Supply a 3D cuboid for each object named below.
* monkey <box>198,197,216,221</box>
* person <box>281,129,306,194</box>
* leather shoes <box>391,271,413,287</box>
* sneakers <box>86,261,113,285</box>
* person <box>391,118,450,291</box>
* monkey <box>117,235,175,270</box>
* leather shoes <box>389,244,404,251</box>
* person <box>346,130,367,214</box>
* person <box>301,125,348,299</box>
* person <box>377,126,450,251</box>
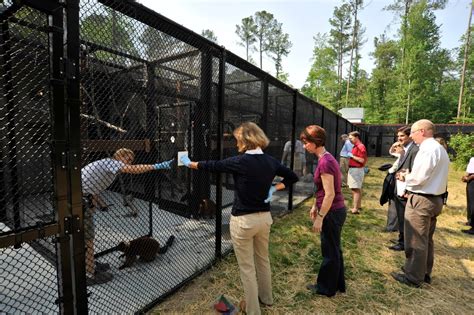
[{"bbox_3d":[-0.646,1.153,6.941,0.262,0.338,0.482,26,38,-11],"label":"monkey"},{"bbox_3d":[1.616,0.137,9.069,0.649,1.635,0.627,6,29,6],"label":"person"},{"bbox_3d":[2.960,2.185,5.874,0.117,0.120,0.308,-7,19,-27],"label":"leather shoes"},{"bbox_3d":[-2.284,1.934,5.514,0.253,0.173,0.415,7,7,9],"label":"sneakers"},{"bbox_3d":[3.310,0.829,5.925,0.945,2.992,0.912,2,1,-31],"label":"person"},{"bbox_3d":[-1.665,1.700,5.893,1.074,0.439,0.384,7,-1,-38],"label":"monkey"},{"bbox_3d":[3.354,1.910,6.860,0.142,0.065,0.188,3,-5,-43],"label":"leather shoes"},{"bbox_3d":[3.261,0.397,8.913,0.436,2.187,0.960,1,6,21],"label":"person"},{"bbox_3d":[1.398,0.940,5.627,0.894,2.716,0.928,-7,-9,38],"label":"person"},{"bbox_3d":[3.584,0.642,6.941,0.754,2.488,1.444,4,6,35],"label":"person"}]
